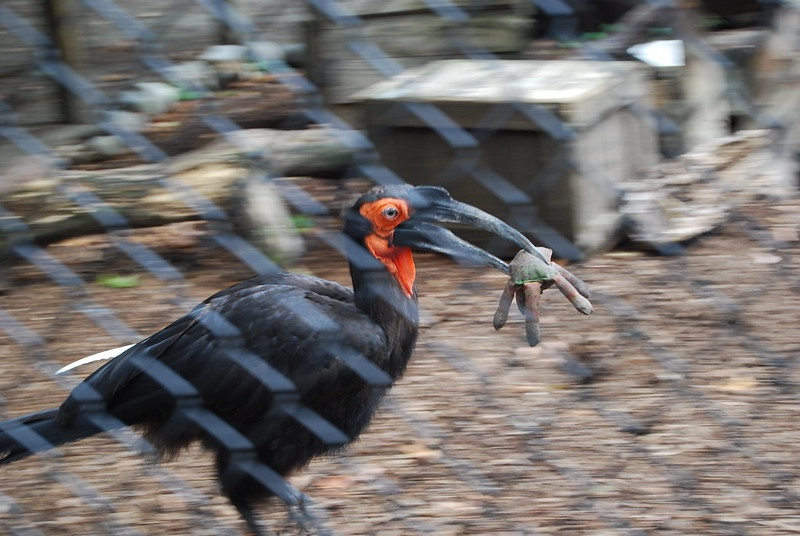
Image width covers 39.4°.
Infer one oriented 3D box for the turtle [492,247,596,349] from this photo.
[{"bbox_3d":[0.536,0.102,4.433,0.483,0.354,0.416,-3,55,4],"label":"turtle"}]
